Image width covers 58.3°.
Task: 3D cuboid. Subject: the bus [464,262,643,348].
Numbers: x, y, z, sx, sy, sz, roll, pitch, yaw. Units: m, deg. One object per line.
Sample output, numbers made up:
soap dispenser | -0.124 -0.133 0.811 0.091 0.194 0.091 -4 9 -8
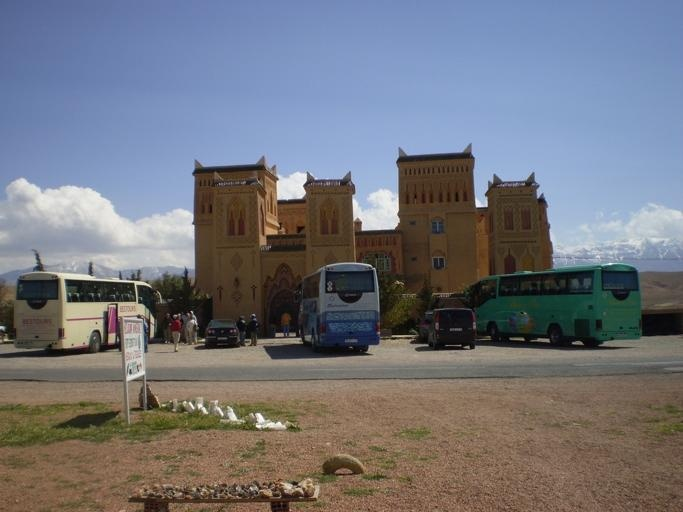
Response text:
bus | 10.948 2.548 32.622 3.570 4.293 10.281 5 -7 -30

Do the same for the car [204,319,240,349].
car | -6.730 4.341 34.343 1.810 1.522 1.331 0 -5 -15

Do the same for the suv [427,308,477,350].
suv | 5.282 3.360 28.988 1.274 1.360 2.619 -1 -1 5

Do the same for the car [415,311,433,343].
car | 4.767 4.125 35.305 0.781 0.838 1.834 -1 -1 4
